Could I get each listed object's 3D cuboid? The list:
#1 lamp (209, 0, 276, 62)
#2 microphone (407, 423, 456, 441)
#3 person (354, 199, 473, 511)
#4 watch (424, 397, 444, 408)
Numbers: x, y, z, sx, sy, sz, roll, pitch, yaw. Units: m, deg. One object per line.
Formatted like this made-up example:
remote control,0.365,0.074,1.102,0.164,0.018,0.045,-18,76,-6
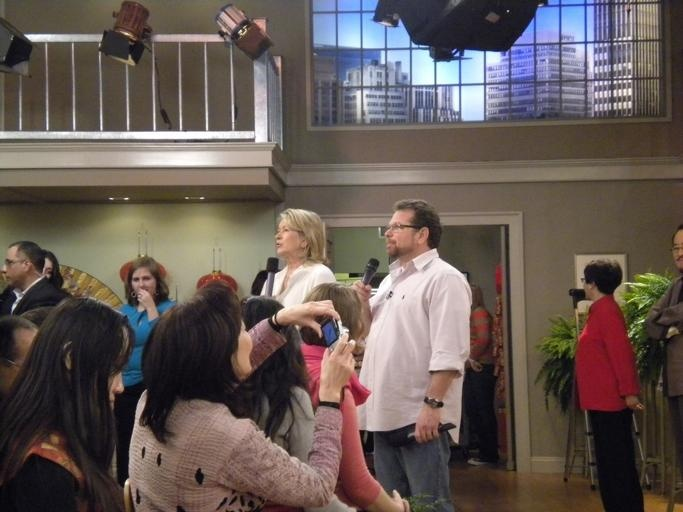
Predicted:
lamp,-0.849,-1.978,5.901,0.367,0.559,0.237,-46,3,26
microphone,0.464,0.862,3.298,0.262,0.082,0.111,-1,0,-10
person,0.367,0.475,3.479,0.604,1.554,0.436,0,1,40
watch,0.444,0.705,3.228,0.063,0.057,0.069,5,-9,25
